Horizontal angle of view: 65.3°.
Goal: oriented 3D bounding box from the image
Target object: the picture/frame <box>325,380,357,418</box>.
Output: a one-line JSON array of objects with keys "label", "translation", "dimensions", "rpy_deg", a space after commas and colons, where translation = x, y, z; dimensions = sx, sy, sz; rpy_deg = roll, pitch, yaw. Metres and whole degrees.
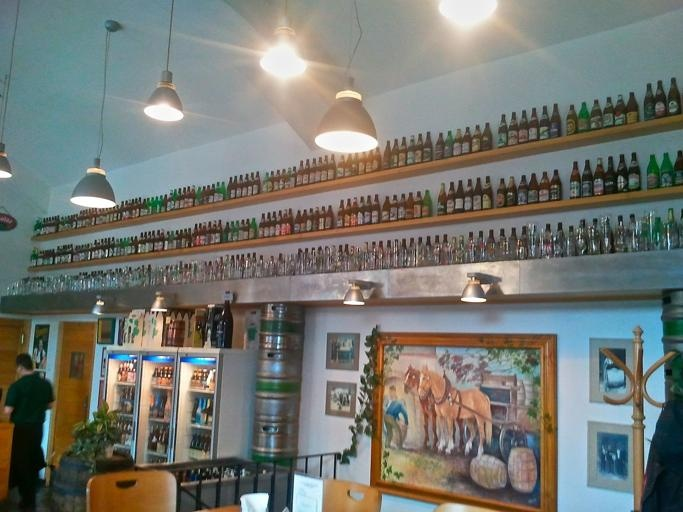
[{"label": "picture/frame", "translation": [0.007, 1.398, 5.210], "dimensions": [0.342, 0.350, 0.028], "rpy_deg": [-8, -15, 40]}]

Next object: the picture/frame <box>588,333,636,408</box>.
[{"label": "picture/frame", "translation": [2.015, 0.852, 3.987], "dimensions": [0.306, 0.477, 0.093], "rpy_deg": [-3, -12, 21]}]

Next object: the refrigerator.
[{"label": "refrigerator", "translation": [-1.695, 1.639, 5.681], "dimensions": [1.131, 1.158, 0.381], "rpy_deg": [-6, -16, 29]}]

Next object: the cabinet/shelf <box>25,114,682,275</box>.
[{"label": "cabinet/shelf", "translation": [-0.476, -0.451, 5.614], "dimensions": [6.925, 0.677, 0.306], "rpy_deg": [-7, -14, 33]}]

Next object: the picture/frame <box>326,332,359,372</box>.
[{"label": "picture/frame", "translation": [0.025, 0.951, 5.264], "dimensions": [0.349, 0.354, 0.015], "rpy_deg": [-10, -17, 36]}]

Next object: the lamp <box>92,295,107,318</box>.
[{"label": "lamp", "translation": [-3.067, 0.618, 6.751], "dimensions": [0.136, 0.233, 0.635], "rpy_deg": [7, -13, -24]}]

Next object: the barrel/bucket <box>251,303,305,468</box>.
[{"label": "barrel/bucket", "translation": [-0.621, 1.245, 5.339], "dimensions": [0.460, 1.515, 0.364], "rpy_deg": [3, -11, -8]}]

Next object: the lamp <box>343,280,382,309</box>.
[{"label": "lamp", "translation": [0.155, 0.302, 4.406], "dimensions": [0.315, 0.249, 0.177], "rpy_deg": [13, -18, -32]}]

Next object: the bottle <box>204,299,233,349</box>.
[{"label": "bottle", "translation": [-1.275, 0.744, 5.674], "dimensions": [0.250, 0.479, 0.562], "rpy_deg": [8, -13, -28]}]

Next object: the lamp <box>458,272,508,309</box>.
[{"label": "lamp", "translation": [1.047, 0.250, 3.959], "dimensions": [0.161, 0.251, 0.409], "rpy_deg": [-11, -21, 38]}]

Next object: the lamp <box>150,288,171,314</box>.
[{"label": "lamp", "translation": [-1.990, 0.493, 5.855], "dimensions": [0.241, 0.286, 0.259], "rpy_deg": [3, -1, -15]}]
